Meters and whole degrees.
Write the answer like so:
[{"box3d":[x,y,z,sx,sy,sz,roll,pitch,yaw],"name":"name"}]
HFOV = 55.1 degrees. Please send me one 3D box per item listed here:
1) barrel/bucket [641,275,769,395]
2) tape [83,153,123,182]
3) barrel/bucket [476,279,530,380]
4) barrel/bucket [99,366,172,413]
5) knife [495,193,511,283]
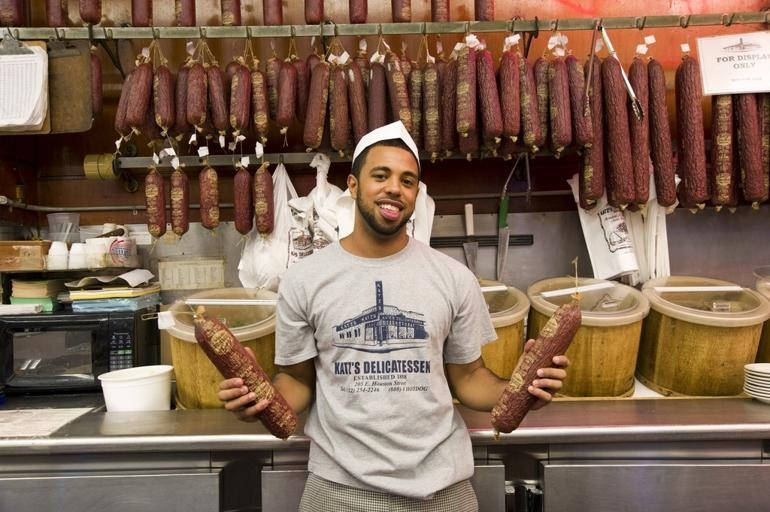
[{"box3d":[1.892,0.449,4.461,0.653,0.496,0.678,0,12,0],"name":"barrel/bucket"},{"box3d":[-1.915,-0.603,5.019,0.231,0.173,0.171,-3,-20,6],"name":"tape"},{"box3d":[0.700,0.427,4.454,0.483,0.485,0.471,1,13,0],"name":"barrel/bucket"},{"box3d":[-1.450,0.777,4.298,0.321,0.187,0.301,0,-1,0],"name":"barrel/bucket"},{"box3d":[0.807,-0.125,5.037,0.096,0.569,0.027,6,-8,8],"name":"knife"}]
